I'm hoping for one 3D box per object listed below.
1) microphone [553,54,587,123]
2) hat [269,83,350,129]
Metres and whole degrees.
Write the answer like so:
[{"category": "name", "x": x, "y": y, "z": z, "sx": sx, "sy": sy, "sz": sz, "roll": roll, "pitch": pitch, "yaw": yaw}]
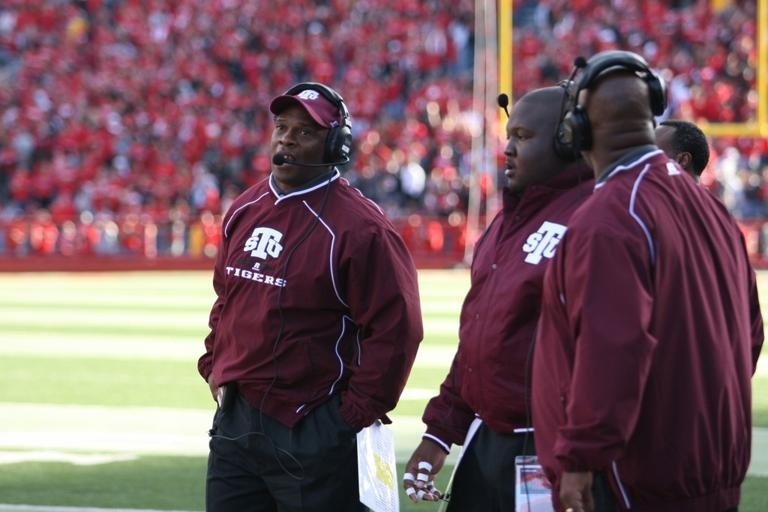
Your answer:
[{"category": "microphone", "x": 1.828, "y": -1.627, "z": 12.954, "sx": 0.237, "sy": 0.644, "sz": 0.257, "roll": 5, "pitch": 5, "yaw": 2}, {"category": "hat", "x": -0.706, "y": -1.560, "z": 13.349, "sx": 0.472, "sy": 0.362, "sz": 0.637, "roll": 22, "pitch": -18, "yaw": 35}]
